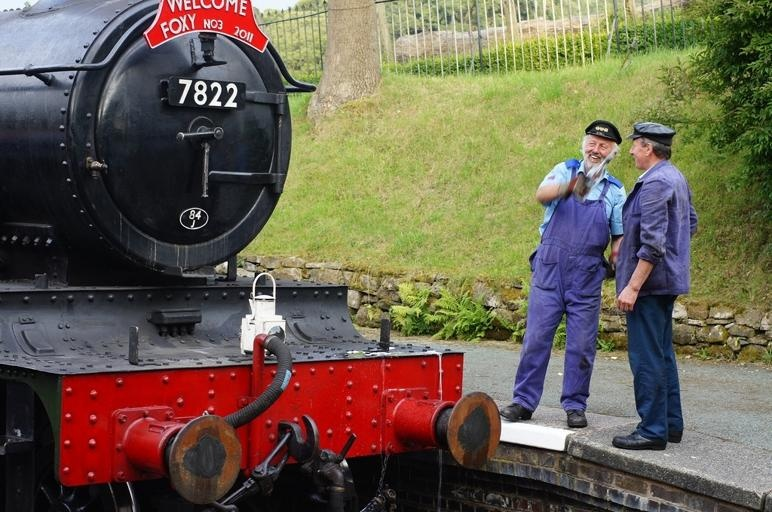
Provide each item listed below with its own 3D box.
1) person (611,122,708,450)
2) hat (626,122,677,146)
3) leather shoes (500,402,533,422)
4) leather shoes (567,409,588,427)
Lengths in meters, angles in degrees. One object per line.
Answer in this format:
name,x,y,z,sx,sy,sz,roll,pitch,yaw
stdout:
person,2.136,0.239,7.706,0.575,2.543,0.964,2,10,16
hat,2.175,-1.016,7.859,0.207,0.114,0.250,-10,13,-42
leather shoes,1.104,1.335,8.180,0.319,0.153,0.127,14,0,-25
leather shoes,1.595,1.372,8.017,0.170,0.116,0.219,1,11,11
